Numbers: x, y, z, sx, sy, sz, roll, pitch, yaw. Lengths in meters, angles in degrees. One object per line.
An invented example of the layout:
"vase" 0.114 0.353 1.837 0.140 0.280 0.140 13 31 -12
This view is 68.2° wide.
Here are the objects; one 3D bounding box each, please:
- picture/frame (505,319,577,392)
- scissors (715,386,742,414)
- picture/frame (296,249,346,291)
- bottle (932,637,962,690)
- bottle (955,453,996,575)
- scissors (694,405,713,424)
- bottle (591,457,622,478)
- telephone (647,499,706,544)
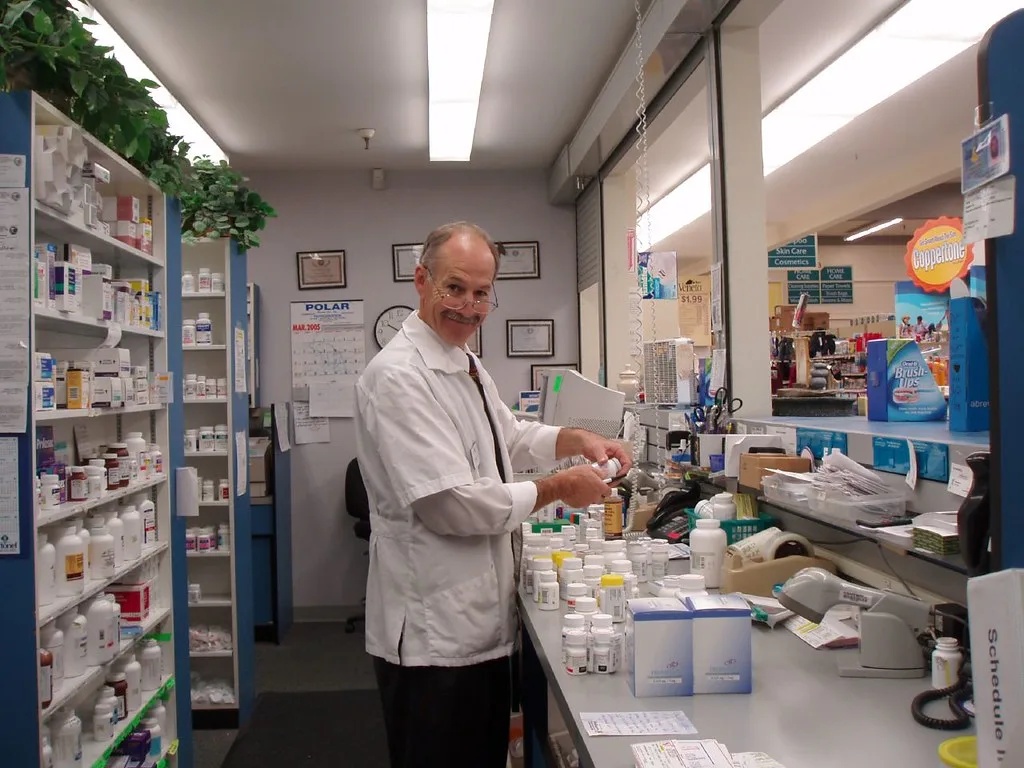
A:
"picture/frame" 0.181 -0.215 5.606 0.513 0.621 0.040 1 -1 -5
"scissors" 0.947 0.074 3.307 0.113 0.122 0.026 9 -6 -38
"picture/frame" -1.508 -0.877 5.880 0.288 0.266 0.024 -1 -5 -5
"bottle" 1.049 0.672 1.820 0.066 0.084 0.100 -3 -2 31
"bottle" 1.111 0.315 1.814 0.065 0.212 0.206 -3 -2 30
"scissors" 0.841 0.136 3.303 0.054 0.083 0.027 8 8 41
"bottle" 0.313 0.256 2.494 0.103 0.073 0.068 -11 9 -5
"telephone" 0.663 0.542 3.078 0.166 0.063 0.130 -29 18 -39
